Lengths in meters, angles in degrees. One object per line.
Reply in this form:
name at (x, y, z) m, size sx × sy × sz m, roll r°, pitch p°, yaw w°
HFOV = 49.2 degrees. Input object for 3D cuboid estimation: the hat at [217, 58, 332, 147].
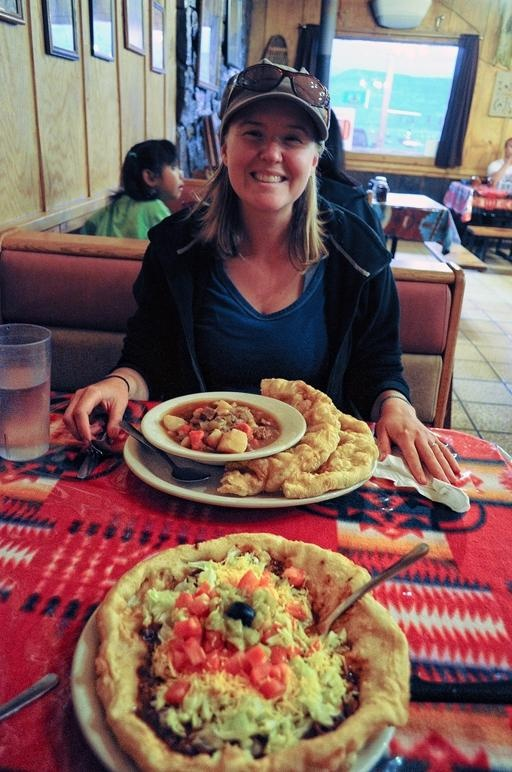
hat at (0.049, -0.654, 1.228) m, size 0.181 × 0.195 × 0.065 m, roll 7°, pitch 42°, yaw -6°

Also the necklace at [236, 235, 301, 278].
necklace at (0.040, -0.336, 1.452) m, size 0.099 × 0.093 × 0.050 m, roll 1°, pitch 24°, yaw -1°

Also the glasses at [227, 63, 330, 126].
glasses at (0.057, -0.680, 1.279) m, size 0.256 × 0.104 × 0.163 m, roll 3°, pitch 28°, yaw -5°

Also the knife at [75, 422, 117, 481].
knife at (-0.259, 0.109, 0.898) m, size 0.029 × 0.029 × 0.076 m, roll -5°, pitch 57°, yaw 23°
